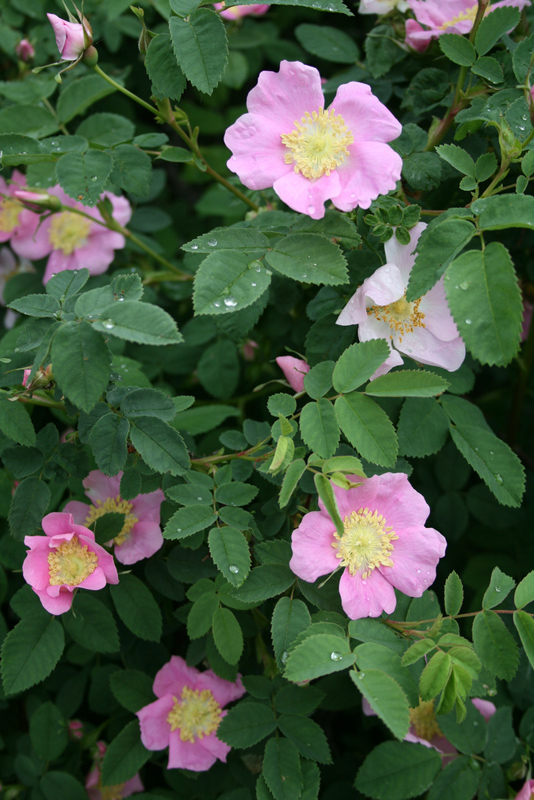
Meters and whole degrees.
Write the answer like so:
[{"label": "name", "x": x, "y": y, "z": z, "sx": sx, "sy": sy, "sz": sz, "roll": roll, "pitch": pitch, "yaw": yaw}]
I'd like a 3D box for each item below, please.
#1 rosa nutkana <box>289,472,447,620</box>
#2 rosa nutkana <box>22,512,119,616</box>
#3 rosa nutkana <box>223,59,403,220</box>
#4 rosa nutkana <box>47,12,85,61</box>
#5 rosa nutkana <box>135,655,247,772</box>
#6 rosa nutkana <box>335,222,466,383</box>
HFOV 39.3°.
[{"label": "rosa nutkana", "x": 0.181, "y": 0.259, "z": 1.312, "sx": 0.273, "sy": 0.246, "sz": 0.186, "roll": -29, "pitch": 50, "yaw": -33}, {"label": "rosa nutkana", "x": -0.362, "y": 0.313, "z": 1.359, "sx": 0.142, "sy": 0.197, "sz": 0.158, "roll": -23, "pitch": 47, "yaw": -28}, {"label": "rosa nutkana", "x": 0.081, "y": -0.472, "z": 1.366, "sx": 0.315, "sy": 0.225, "sz": 0.255, "roll": 1, "pitch": 40, "yaw": -3}, {"label": "rosa nutkana", "x": -0.371, "y": -0.680, "z": 1.395, "sx": 0.056, "sy": 0.095, "sz": 0.112, "roll": -6, "pitch": 41, "yaw": -11}, {"label": "rosa nutkana", "x": -0.151, "y": 0.604, "z": 1.431, "sx": 0.179, "sy": 0.205, "sz": 0.183, "roll": 12, "pitch": 41, "yaw": 9}, {"label": "rosa nutkana", "x": 0.259, "y": -0.167, "z": 1.403, "sx": 0.265, "sy": 0.272, "sz": 0.174, "roll": -18, "pitch": 45, "yaw": -24}]
